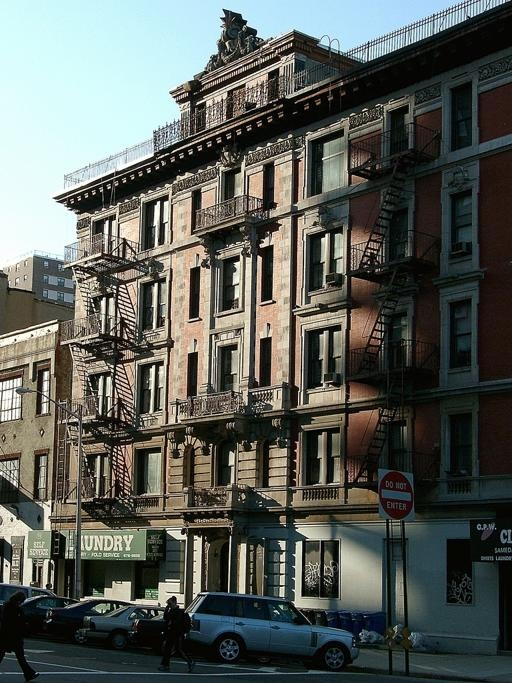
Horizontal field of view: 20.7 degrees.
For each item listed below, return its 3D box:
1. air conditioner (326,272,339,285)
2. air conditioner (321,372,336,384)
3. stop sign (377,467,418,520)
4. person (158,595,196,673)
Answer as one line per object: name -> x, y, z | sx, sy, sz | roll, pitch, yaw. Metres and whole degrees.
air conditioner -> 2.574, -2.179, 48.619 | 0.371, 0.351, 0.539 | -6, -2, 44
air conditioner -> 2.473, 1.309, 48.261 | 0.247, 0.481, 0.876 | 4, -17, -19
stop sign -> 3.453, 3.846, 35.112 | 0.422, 1.302, 1.531 | -9, -17, 32
person -> -1.947, 7.134, 34.166 | 0.777, 2.134, 0.837 | 2, -6, -12
